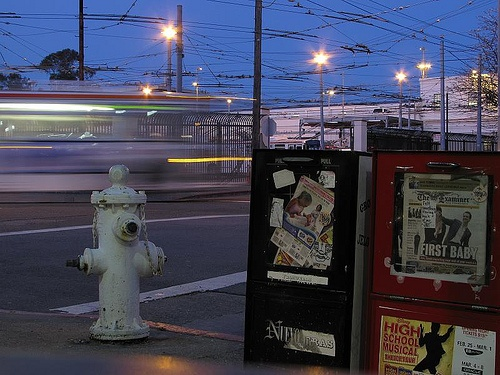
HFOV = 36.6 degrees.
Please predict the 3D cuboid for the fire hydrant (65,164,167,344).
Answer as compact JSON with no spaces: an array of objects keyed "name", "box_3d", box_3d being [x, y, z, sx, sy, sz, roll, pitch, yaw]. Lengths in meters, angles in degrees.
[{"name":"fire hydrant","box_3d":[-1.344,0.699,7.878,0.909,1.824,0.607,-2,7,-6]}]
